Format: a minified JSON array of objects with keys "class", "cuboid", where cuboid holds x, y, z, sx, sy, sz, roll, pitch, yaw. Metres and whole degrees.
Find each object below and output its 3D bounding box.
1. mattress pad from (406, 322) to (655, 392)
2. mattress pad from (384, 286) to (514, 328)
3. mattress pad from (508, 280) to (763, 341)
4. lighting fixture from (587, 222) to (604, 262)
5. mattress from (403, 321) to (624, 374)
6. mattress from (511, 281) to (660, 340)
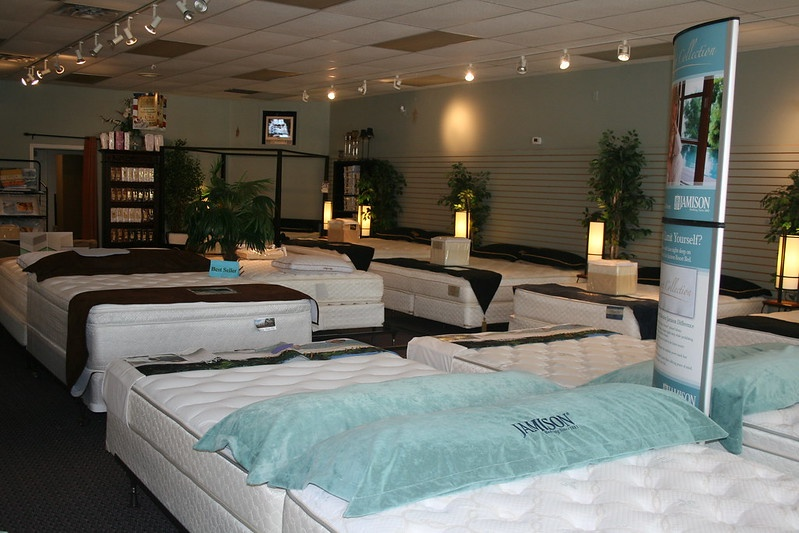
[{"class":"mattress pad","cuboid":[0.726,0.600,3.944,0.828,0.159,0.812,-8,14,-40]},{"class":"mattress pad","cuboid":[0.770,0.543,6.641,0.697,0.238,1.233,-3,5,-37]},{"class":"mattress pad","cuboid":[2.348,0.440,5.481,1.285,0.247,1.136,-1,4,-27]},{"class":"lighting fixture","cuboid":[2.539,-0.333,6.768,0.214,0.470,0.195,4,15,27]},{"class":"mattress","cuboid":[1.085,0.619,4.164,1.464,0.201,1.076,-10,-8,36]},{"class":"mattress","cuboid":[2.146,0.486,5.789,1.723,0.351,1.537,-2,6,-28]}]
